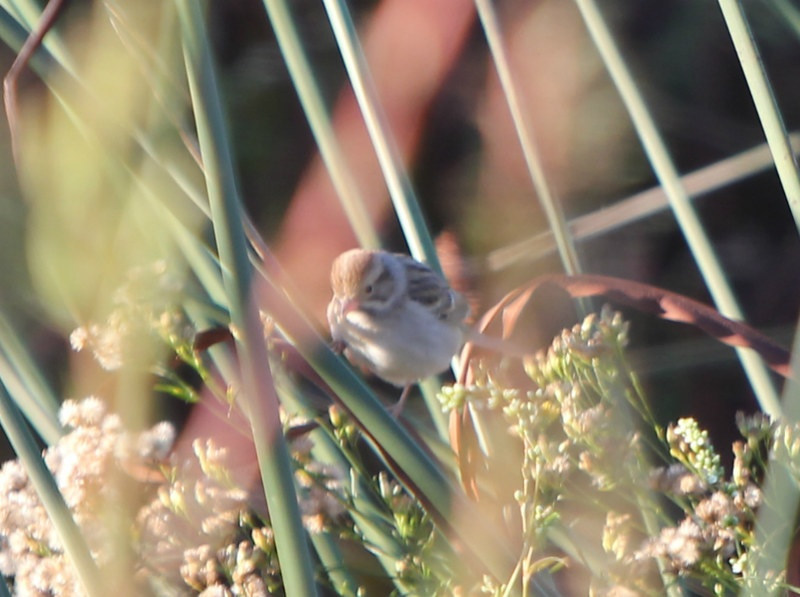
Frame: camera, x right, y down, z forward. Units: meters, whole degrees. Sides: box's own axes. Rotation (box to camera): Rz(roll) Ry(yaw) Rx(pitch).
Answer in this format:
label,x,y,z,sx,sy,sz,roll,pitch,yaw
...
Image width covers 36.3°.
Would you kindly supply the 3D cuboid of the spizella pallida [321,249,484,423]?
label,x,y,z,sx,sy,sz,roll,pitch,yaw
spizella pallida,0.003,0.028,1.631,0.119,0.169,0.249,9,23,19
